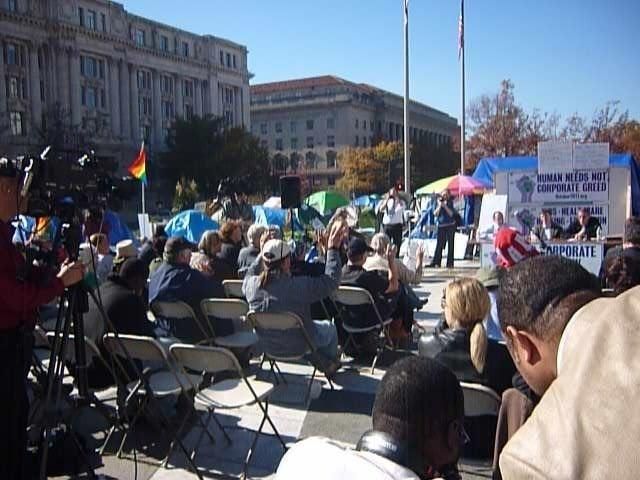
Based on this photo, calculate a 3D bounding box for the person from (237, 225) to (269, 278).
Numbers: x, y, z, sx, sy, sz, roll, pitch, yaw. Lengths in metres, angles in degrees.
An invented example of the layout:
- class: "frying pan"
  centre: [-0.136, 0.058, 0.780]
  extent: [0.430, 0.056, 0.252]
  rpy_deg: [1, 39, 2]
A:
- class: "person"
  centre: [-0.848, 0.056, 9.379]
  extent: [0.253, 0.916, 0.263]
  rpy_deg: [22, 29, 24]

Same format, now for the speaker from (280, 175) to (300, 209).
- class: "speaker"
  centre: [-0.494, -0.805, 12.150]
  extent: [0.329, 0.563, 0.583]
  rpy_deg: [1, 4, -4]

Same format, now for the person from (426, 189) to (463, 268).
- class: "person"
  centre: [2.834, -0.235, 16.258]
  extent: [0.647, 1.747, 1.440]
  rpy_deg: [2, 4, 8]

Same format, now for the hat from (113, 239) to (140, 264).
- class: "hat"
  centre: [-2.640, 0.151, 9.782]
  extent: [0.322, 0.440, 0.292]
  rpy_deg: [-4, 9, 4]

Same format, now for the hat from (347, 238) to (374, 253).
- class: "hat"
  centre: [0.462, 0.059, 8.407]
  extent: [0.300, 0.171, 0.256]
  rpy_deg: [1, 5, -13]

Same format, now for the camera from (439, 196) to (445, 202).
- class: "camera"
  centre: [2.645, -0.893, 15.573]
  extent: [0.134, 0.122, 0.119]
  rpy_deg: [3, 5, 10]

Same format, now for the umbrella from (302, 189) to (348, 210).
- class: "umbrella"
  centre: [0.010, -1.514, 28.090]
  extent: [1.179, 0.640, 1.350]
  rpy_deg: [2, 19, 31]

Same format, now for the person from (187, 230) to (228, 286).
- class: "person"
  centre: [-1.401, 0.237, 9.115]
  extent: [0.393, 0.866, 0.426]
  rpy_deg: [12, 20, 23]

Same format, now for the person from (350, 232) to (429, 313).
- class: "person"
  centre: [1.064, 0.514, 9.346]
  extent: [0.696, 1.006, 0.621]
  rpy_deg: [-1, 13, 4]

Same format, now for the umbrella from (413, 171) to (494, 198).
- class: "umbrella"
  centre: [4.008, -1.556, 20.657]
  extent: [1.635, 0.850, 1.902]
  rpy_deg: [-2, -4, 23]

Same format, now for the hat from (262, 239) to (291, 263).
- class: "hat"
  centre: [-0.441, 0.111, 7.247]
  extent: [0.279, 0.229, 0.190]
  rpy_deg: [1, 4, -12]
